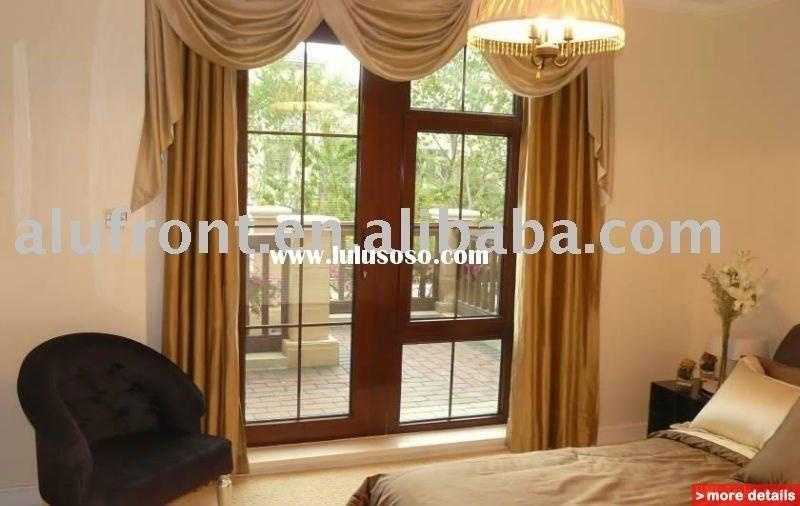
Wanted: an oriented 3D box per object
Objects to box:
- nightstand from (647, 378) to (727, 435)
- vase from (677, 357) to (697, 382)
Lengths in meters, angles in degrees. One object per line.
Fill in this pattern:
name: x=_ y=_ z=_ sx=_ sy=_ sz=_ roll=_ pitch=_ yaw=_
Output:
nightstand: x=2.189 y=1.149 z=5.316 sx=0.381 sy=0.560 sz=0.574 roll=-1 pitch=7 yaw=-8
vase: x=2.260 y=0.919 z=5.359 sx=0.167 sy=0.202 sz=0.170 roll=1 pitch=1 yaw=-3
